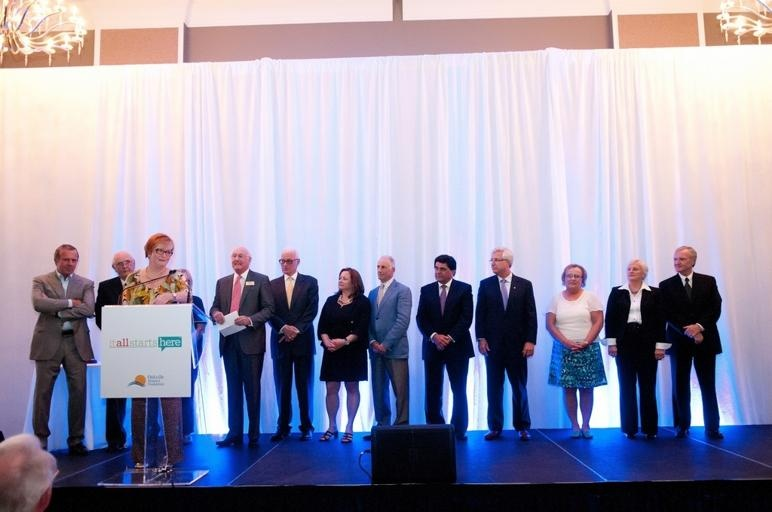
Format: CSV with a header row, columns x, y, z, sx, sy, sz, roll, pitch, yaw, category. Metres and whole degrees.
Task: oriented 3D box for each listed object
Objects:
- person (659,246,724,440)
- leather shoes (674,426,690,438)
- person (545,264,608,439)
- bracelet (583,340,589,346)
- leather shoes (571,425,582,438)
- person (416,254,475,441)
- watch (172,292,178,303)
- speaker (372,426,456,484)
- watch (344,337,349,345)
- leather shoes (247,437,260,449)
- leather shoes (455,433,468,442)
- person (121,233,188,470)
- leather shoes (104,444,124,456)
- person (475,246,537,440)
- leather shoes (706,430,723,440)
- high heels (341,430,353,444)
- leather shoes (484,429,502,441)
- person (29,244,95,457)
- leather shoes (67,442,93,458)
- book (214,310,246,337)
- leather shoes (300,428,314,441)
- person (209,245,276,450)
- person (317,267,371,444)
x,y,z,sx,sy,sz,roll,pitch,yaw,category
3.436,0.940,8.054,0.625,2.115,0.307,-4,-3,21,person
3.284,1.932,7.961,0.110,0.112,0.127,1,-18,8,leather shoes
2.161,1.050,8.163,0.639,1.939,0.372,-3,-3,17,person
2.240,0.960,8.041,0.048,0.037,0.049,1,2,-1,bracelet
2.131,1.956,8.040,0.117,0.109,0.205,-6,-5,41,leather shoes
0.685,1.015,8.230,0.652,2.073,0.376,-3,-3,2,person
-2.004,0.384,6.844,0.052,0.079,0.084,5,-22,0,watch
0.258,1.865,6.823,0.769,0.506,0.427,-1,-7,0,speaker
-0.431,0.940,8.082,0.045,0.079,0.073,4,-8,-1,watch
-1.440,2.016,7.816,0.118,0.093,0.217,-2,-4,-12,leather shoes
0.845,2.017,8.048,0.082,0.096,0.151,-4,-11,36,leather shoes
-2.195,0.913,6.908,0.625,2.292,0.813,-1,-3,-21,person
-2.977,2.108,7.913,0.189,0.066,0.290,-1,-4,-20,leather shoes
1.371,0.963,8.175,0.685,2.150,0.300,-3,-3,7,person
3.603,1.945,7.865,0.126,0.068,0.083,-1,-5,4,leather shoes
-0.430,1.999,7.988,0.129,0.098,0.199,-2,-4,-5,high heels
1.209,1.994,8.098,0.181,0.088,0.248,-3,-4,7,leather shoes
-3.572,1.012,7.973,0.668,2.294,0.454,-1,-3,-27,person
-3.345,2.097,7.819,0.201,0.097,0.107,1,-2,6,leather shoes
-1.698,0.736,7.896,0.262,0.262,0.255,-3,-3,5,book
-0.895,1.989,8.148,0.157,0.120,0.273,-2,-4,-7,leather shoes
-1.607,0.981,8.017,0.714,2.190,0.532,-3,-3,4,person
-0.462,1.094,8.168,0.619,1.926,0.421,-3,-3,1,person
